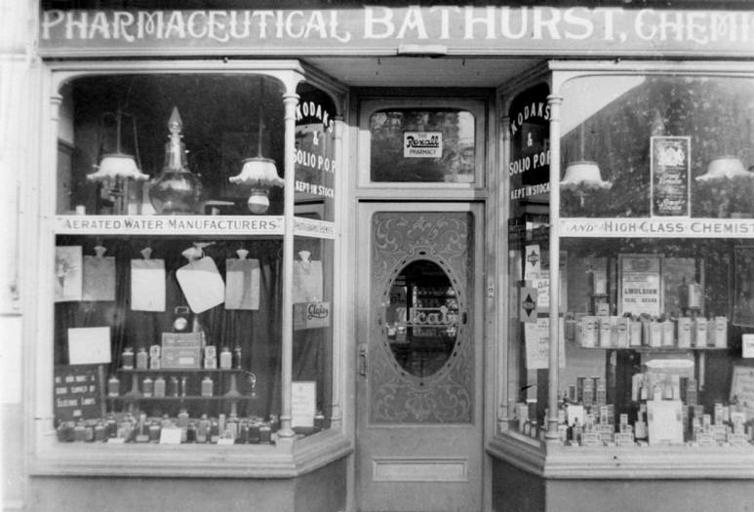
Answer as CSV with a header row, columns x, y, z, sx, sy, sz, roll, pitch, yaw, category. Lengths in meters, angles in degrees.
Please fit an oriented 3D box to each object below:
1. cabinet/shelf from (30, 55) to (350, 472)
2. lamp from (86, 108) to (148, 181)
x,y,z,sx,sy,sz,roll,pitch,yaw,category
-1.676,0.056,15.017,3.026,3.794,1.405,0,5,-4,cabinet/shelf
-2.601,-1.094,15.581,0.605,0.680,0.610,2,-4,-24,lamp
